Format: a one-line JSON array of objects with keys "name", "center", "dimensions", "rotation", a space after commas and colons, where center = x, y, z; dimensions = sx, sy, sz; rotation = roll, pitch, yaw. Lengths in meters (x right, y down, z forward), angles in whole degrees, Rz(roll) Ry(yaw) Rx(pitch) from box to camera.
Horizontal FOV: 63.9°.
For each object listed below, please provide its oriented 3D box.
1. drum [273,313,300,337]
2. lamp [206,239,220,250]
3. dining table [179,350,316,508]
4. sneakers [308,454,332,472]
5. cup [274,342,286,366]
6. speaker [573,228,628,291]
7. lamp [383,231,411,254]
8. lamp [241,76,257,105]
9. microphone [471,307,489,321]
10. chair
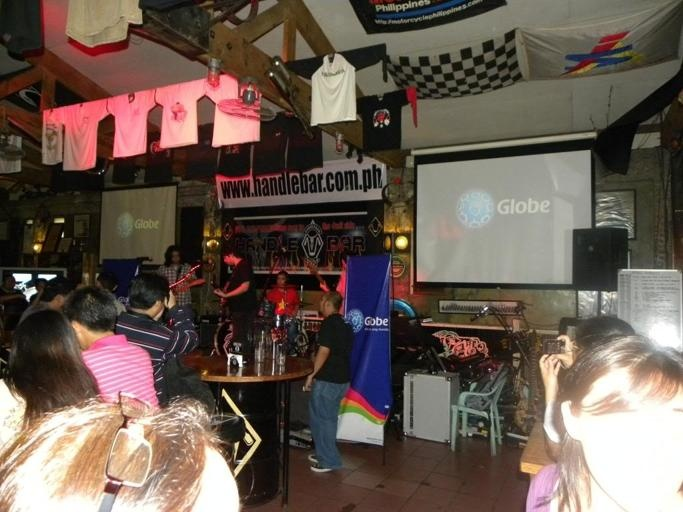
[{"name": "drum", "center": [-0.679, 0.866, 6.940], "dimensions": [0.315, 0.181, 0.465], "rotation": [2, -1, 3]}, {"name": "lamp", "center": [-2.583, -0.243, 10.949], "dimensions": [0.184, 0.212, 0.060], "rotation": [-4, 3, 17]}, {"name": "dining table", "center": [-0.807, 1.401, 4.906], "dimensions": [1.117, 1.281, 1.138], "rotation": [-1, -6, 3]}, {"name": "sneakers", "center": [-0.229, 2.095, 5.502], "dimensions": [0.256, 0.110, 0.100], "rotation": [13, -7, -10]}, {"name": "cup", "center": [-0.575, 0.923, 5.128], "dimensions": [0.134, 0.238, 0.144], "rotation": [0, -10, 0]}, {"name": "speaker", "center": [2.909, 0.039, 6.259], "dimensions": [0.590, 0.987, 0.646], "rotation": [0, -2, 17]}, {"name": "lamp", "center": [0.955, -0.239, 9.211], "dimensions": [0.328, 0.283, 0.329], "rotation": [-1, 3, -27]}, {"name": "lamp", "center": [-0.939, -1.683, 5.546], "dimensions": [0.157, 0.321, 0.173], "rotation": [1, -40, -6]}, {"name": "microphone", "center": [2.167, 0.873, 8.362], "dimensions": [0.173, 0.261, 0.332], "rotation": [3, -3, -25]}, {"name": "chair", "center": [1.606, 1.772, 6.440], "dimensions": [0.792, 1.307, 0.706], "rotation": [0, -4, 16]}]
